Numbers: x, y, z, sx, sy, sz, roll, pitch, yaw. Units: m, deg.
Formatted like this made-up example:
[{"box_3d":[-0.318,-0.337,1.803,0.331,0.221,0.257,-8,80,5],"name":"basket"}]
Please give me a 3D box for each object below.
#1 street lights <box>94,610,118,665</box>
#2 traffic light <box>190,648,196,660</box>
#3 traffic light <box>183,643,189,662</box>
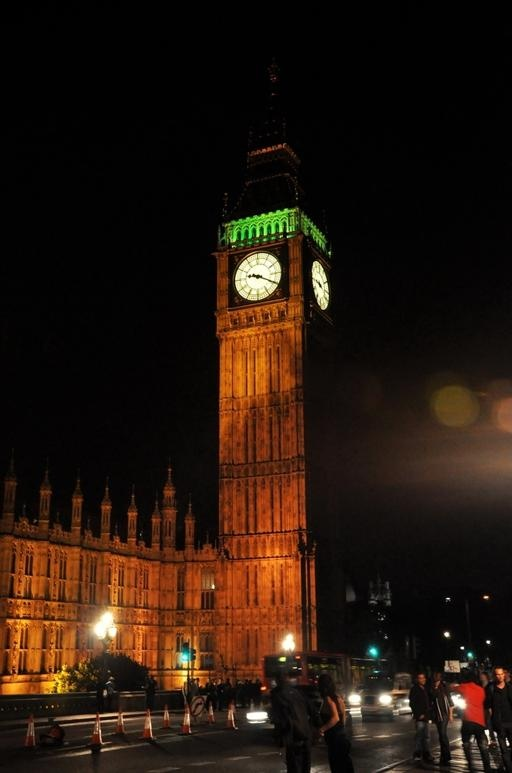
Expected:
[{"box_3d":[-5.631,9.556,31.028,0.713,1.851,0.817,-5,-12,9],"name":"street lights"},{"box_3d":[-2.816,11.854,36.180,0.128,0.453,0.616,-5,-21,9],"name":"traffic light"},{"box_3d":[-3.079,11.647,36.021,0.267,0.629,0.915,-1,-21,-6],"name":"traffic light"}]
